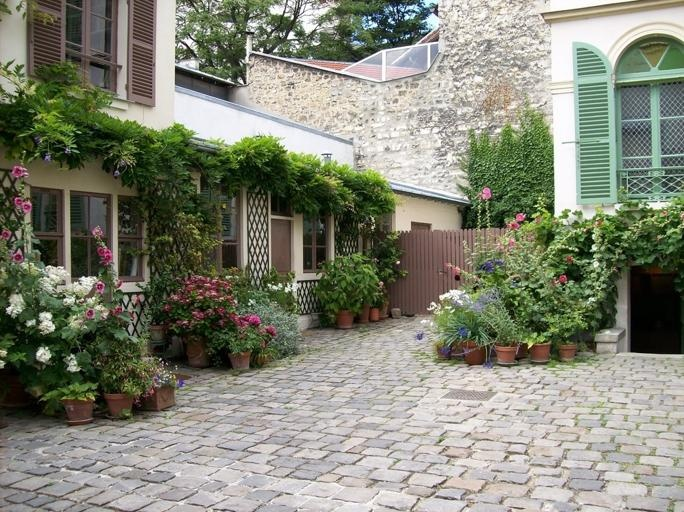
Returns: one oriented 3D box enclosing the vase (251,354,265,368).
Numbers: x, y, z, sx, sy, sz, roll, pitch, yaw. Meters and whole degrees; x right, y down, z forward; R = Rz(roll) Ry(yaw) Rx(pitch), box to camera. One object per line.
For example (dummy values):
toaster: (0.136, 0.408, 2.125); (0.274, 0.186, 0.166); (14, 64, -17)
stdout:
vase: (-1.268, 1.576, 9.583); (0.213, 0.146, 0.208); (0, -3, -11)

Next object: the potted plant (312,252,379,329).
potted plant: (0.074, 0.690, 13.938); (1.687, 1.547, 1.399); (-1, -1, -23)

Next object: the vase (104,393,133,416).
vase: (-2.521, 1.670, 7.194); (0.292, 0.206, 0.287); (0, -7, -5)

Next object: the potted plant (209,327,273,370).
potted plant: (-1.536, 1.306, 9.564); (0.675, 0.541, 0.785); (-7, -9, 42)

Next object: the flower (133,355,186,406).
flower: (-2.247, 1.550, 7.591); (0.467, 0.569, 0.573); (-8, -4, 18)

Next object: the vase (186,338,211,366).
vase: (-2.150, 1.447, 9.625); (0.427, 0.386, 0.437); (-1, -5, -6)

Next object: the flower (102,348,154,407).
flower: (-2.398, 1.353, 7.424); (0.749, 0.756, 0.577); (1, -8, -15)

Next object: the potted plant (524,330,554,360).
potted plant: (2.960, 1.362, 9.628); (0.372, 0.469, 0.534); (1, 5, 19)

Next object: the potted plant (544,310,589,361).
potted plant: (3.361, 1.204, 9.936); (0.886, 0.902, 0.702); (1, -7, -3)

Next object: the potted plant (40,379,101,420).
potted plant: (-2.996, 1.708, 7.163); (0.524, 0.348, 0.461); (-8, -12, -8)

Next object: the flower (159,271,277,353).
flower: (-1.833, 0.783, 9.606); (1.300, 0.869, 1.300); (8, -1, 16)
